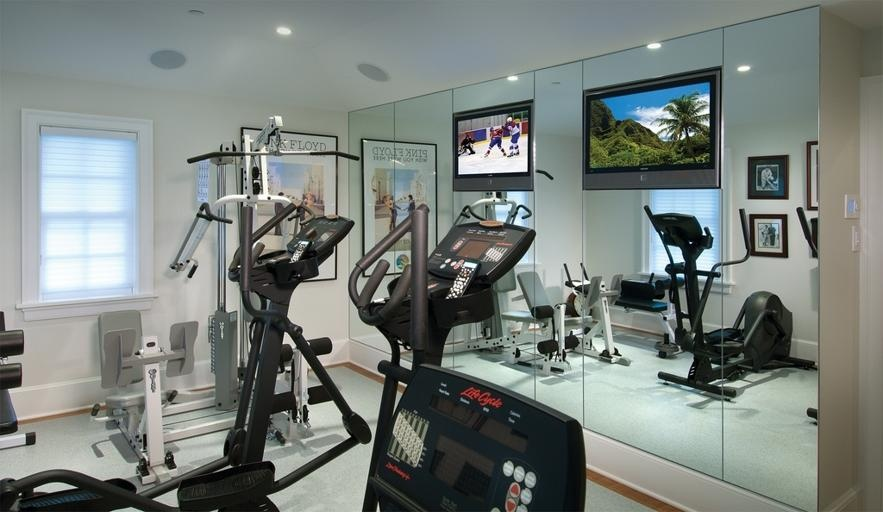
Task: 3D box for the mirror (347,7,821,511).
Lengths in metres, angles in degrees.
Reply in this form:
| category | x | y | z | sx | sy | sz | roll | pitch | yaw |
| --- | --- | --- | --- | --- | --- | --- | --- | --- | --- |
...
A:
| category | x | y | z | sx | sy | sz | roll | pitch | yaw |
| --- | --- | --- | --- | --- | --- | --- | --- | --- | --- |
| mirror | 1.258 | -0.019 | 4.273 | 4.392 | 2.714 | 0.077 | 2 | 1 | 41 |

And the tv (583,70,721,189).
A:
| category | x | y | z | sx | sy | sz | roll | pitch | yaw |
| --- | --- | --- | --- | --- | --- | --- | --- | --- | --- |
| tv | 1.740 | -1.022 | 4.514 | 1.173 | 0.830 | 0.118 | -2 | 0 | 32 |
